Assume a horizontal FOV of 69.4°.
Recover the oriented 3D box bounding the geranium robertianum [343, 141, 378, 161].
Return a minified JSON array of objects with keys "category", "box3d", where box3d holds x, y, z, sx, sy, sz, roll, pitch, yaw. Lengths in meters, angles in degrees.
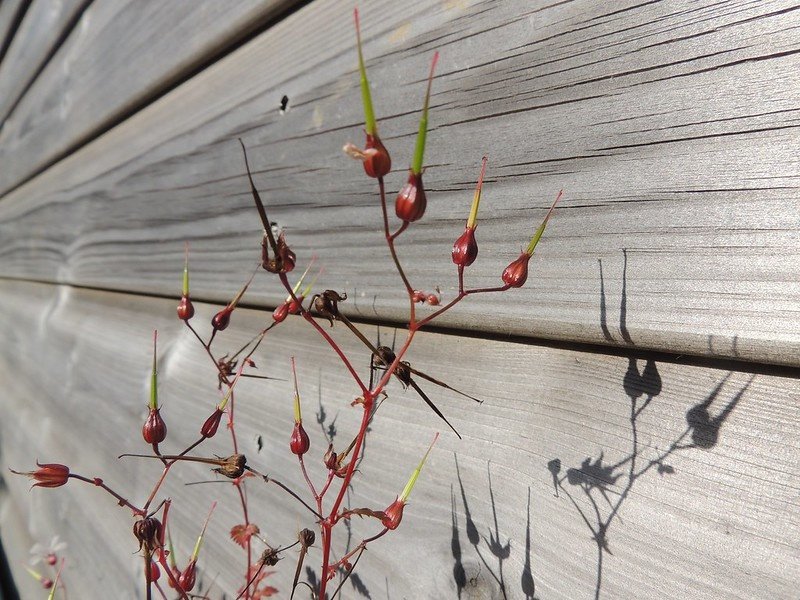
[{"category":"geranium robertianum","box3d":[-0.053,-0.201,0.792,0.047,0.018,0.036,16,-78,33]}]
